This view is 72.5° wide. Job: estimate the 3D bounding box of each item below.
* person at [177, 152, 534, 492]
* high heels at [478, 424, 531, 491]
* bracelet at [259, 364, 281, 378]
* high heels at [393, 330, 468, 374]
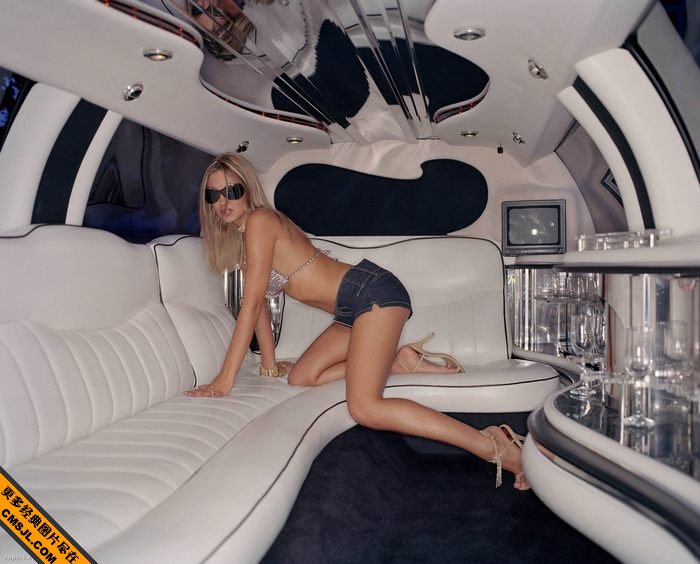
[{"bbox_3d":[0.013,0.087,2.398,1.697,1.284,0.827,10,10,21],"label":"person"},{"bbox_3d":[0.656,0.717,2.005,0.098,0.124,0.304,-2,14,-13],"label":"high heels"},{"bbox_3d":[-0.441,0.482,2.620,0.104,0.049,0.054,-3,5,-37],"label":"bracelet"},{"bbox_3d":[0.517,0.421,2.840,0.511,0.243,0.176,1,-3,10],"label":"high heels"}]
